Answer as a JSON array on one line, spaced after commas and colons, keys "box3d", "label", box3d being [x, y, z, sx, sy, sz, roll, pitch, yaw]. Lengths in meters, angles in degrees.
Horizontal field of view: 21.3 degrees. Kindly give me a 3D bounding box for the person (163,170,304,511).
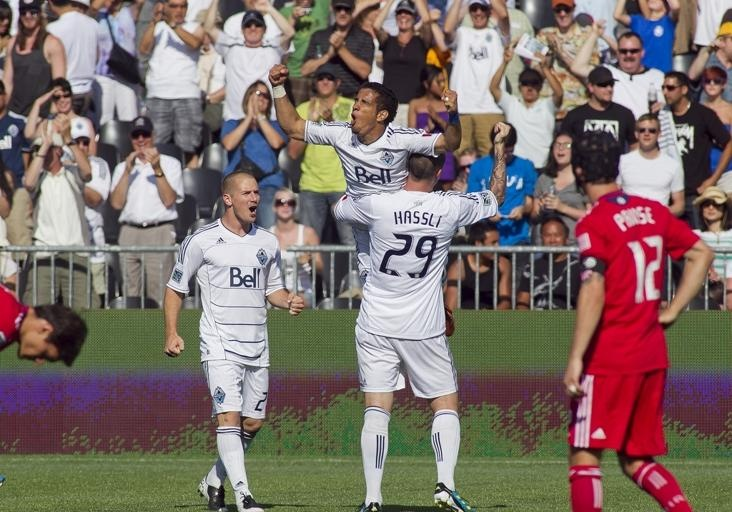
[{"box3d": [-1.406, 0.820, 20.774, 1.329, 2.492, 0.658, 1, 0, -2], "label": "person"}]
